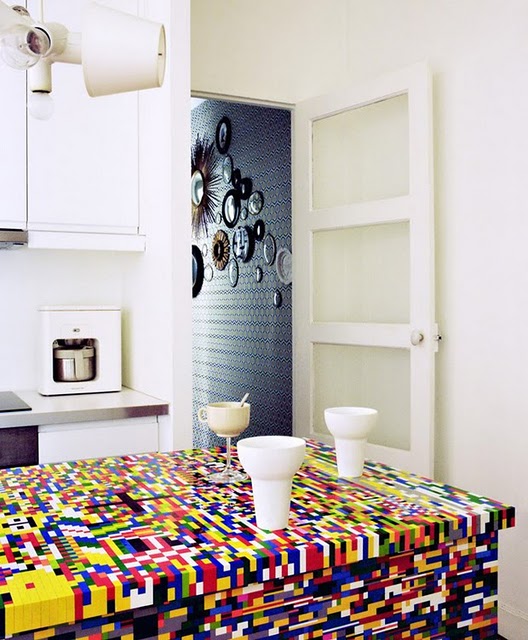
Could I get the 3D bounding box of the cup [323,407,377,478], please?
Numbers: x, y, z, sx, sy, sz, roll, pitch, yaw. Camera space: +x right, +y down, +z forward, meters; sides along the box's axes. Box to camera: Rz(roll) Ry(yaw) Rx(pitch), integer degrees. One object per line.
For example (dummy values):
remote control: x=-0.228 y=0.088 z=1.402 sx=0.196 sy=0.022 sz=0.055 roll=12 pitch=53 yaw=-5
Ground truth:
cup: x=0.168 y=0.226 z=1.049 sx=0.105 sy=0.157 sz=0.109 roll=0 pitch=1 yaw=0

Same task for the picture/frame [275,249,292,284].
picture/frame: x=0.149 y=-0.400 z=3.770 sx=0.037 sy=0.225 sz=0.201 roll=-4 pitch=29 yaw=-15

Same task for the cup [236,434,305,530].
cup: x=0.014 y=0.211 z=0.747 sx=0.100 sy=0.150 sz=0.103 roll=-2 pitch=-3 yaw=0

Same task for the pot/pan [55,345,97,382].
pot/pan: x=-0.829 y=0.194 z=2.202 sx=0.124 sy=0.142 sz=0.139 roll=2 pitch=-3 yaw=-30

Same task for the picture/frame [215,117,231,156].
picture/frame: x=-0.385 y=-1.688 z=4.670 sx=0.041 sy=0.385 sz=0.366 roll=2 pitch=-4 yaw=-26

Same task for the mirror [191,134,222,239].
mirror: x=-0.607 y=-1.370 z=5.006 sx=0.064 sy=1.088 sz=0.766 roll=2 pitch=-4 yaw=-27
